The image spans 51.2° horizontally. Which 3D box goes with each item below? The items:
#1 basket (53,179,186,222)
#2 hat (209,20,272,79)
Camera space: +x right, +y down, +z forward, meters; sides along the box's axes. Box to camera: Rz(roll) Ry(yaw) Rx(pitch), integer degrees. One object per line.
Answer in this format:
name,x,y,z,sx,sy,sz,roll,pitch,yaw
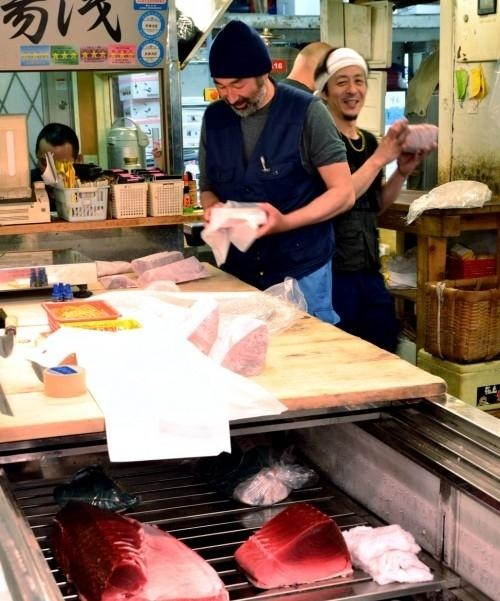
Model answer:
basket,-0.635,-0.505,2.625,0.489,0.131,0.310,-4,12,-16
hat,-0.035,-0.941,2.035,0.283,0.217,0.251,-1,22,-4
